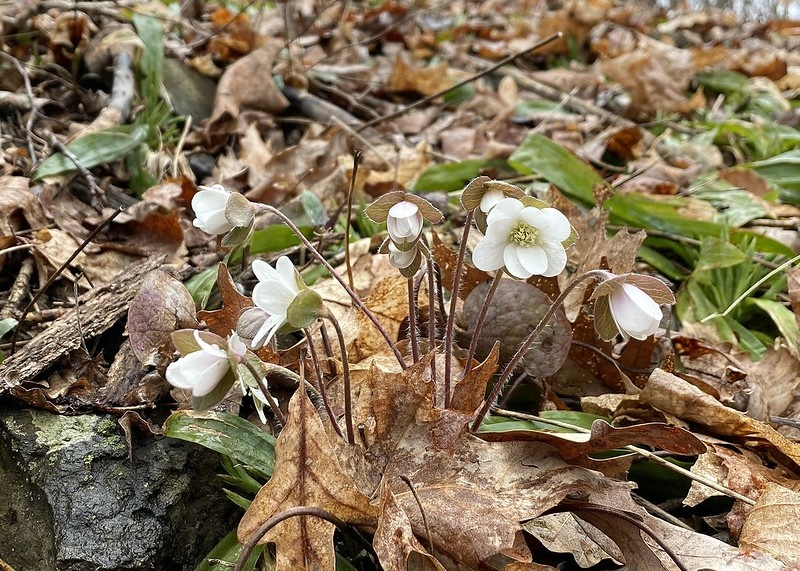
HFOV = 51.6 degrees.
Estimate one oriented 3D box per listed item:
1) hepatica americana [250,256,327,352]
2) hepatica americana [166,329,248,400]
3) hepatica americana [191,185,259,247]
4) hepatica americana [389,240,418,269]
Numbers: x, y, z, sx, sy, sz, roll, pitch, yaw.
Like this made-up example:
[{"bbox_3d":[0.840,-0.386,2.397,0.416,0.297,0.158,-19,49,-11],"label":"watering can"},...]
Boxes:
[{"bbox_3d":[-0.333,0.039,2.233,0.218,0.187,0.178,-20,57,-9],"label":"hepatica americana"},{"bbox_3d":[-0.511,0.191,2.173,0.207,0.131,0.153,-21,57,-10],"label":"hepatica americana"},{"bbox_3d":[-0.519,-0.211,2.366,0.182,0.166,0.086,27,41,27],"label":"hepatica americana"},{"bbox_3d":[0.005,-0.087,2.316,0.086,0.062,0.060,2,57,5],"label":"hepatica americana"}]
